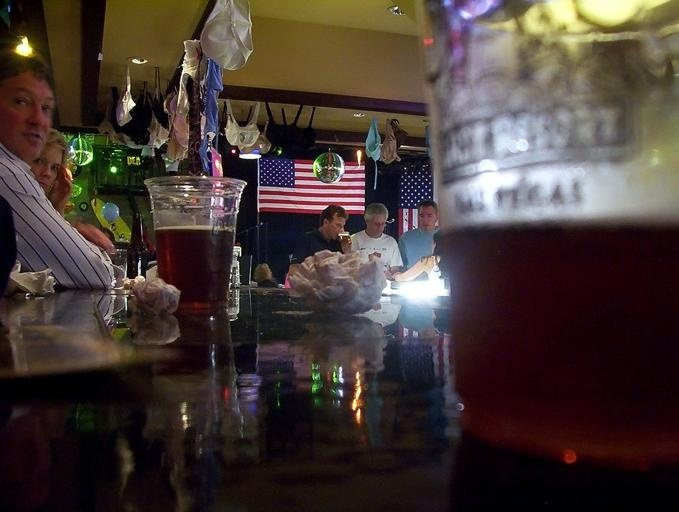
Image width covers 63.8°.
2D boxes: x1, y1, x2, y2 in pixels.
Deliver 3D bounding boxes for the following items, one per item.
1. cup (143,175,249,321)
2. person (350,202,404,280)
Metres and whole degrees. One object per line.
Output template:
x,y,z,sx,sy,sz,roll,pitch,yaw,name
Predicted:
-0.238,-0.006,1.061,0.241,0.280,0.223,-1,-11,0,cup
0.407,-0.110,5.912,0.677,0.928,0.509,0,13,-14,person
